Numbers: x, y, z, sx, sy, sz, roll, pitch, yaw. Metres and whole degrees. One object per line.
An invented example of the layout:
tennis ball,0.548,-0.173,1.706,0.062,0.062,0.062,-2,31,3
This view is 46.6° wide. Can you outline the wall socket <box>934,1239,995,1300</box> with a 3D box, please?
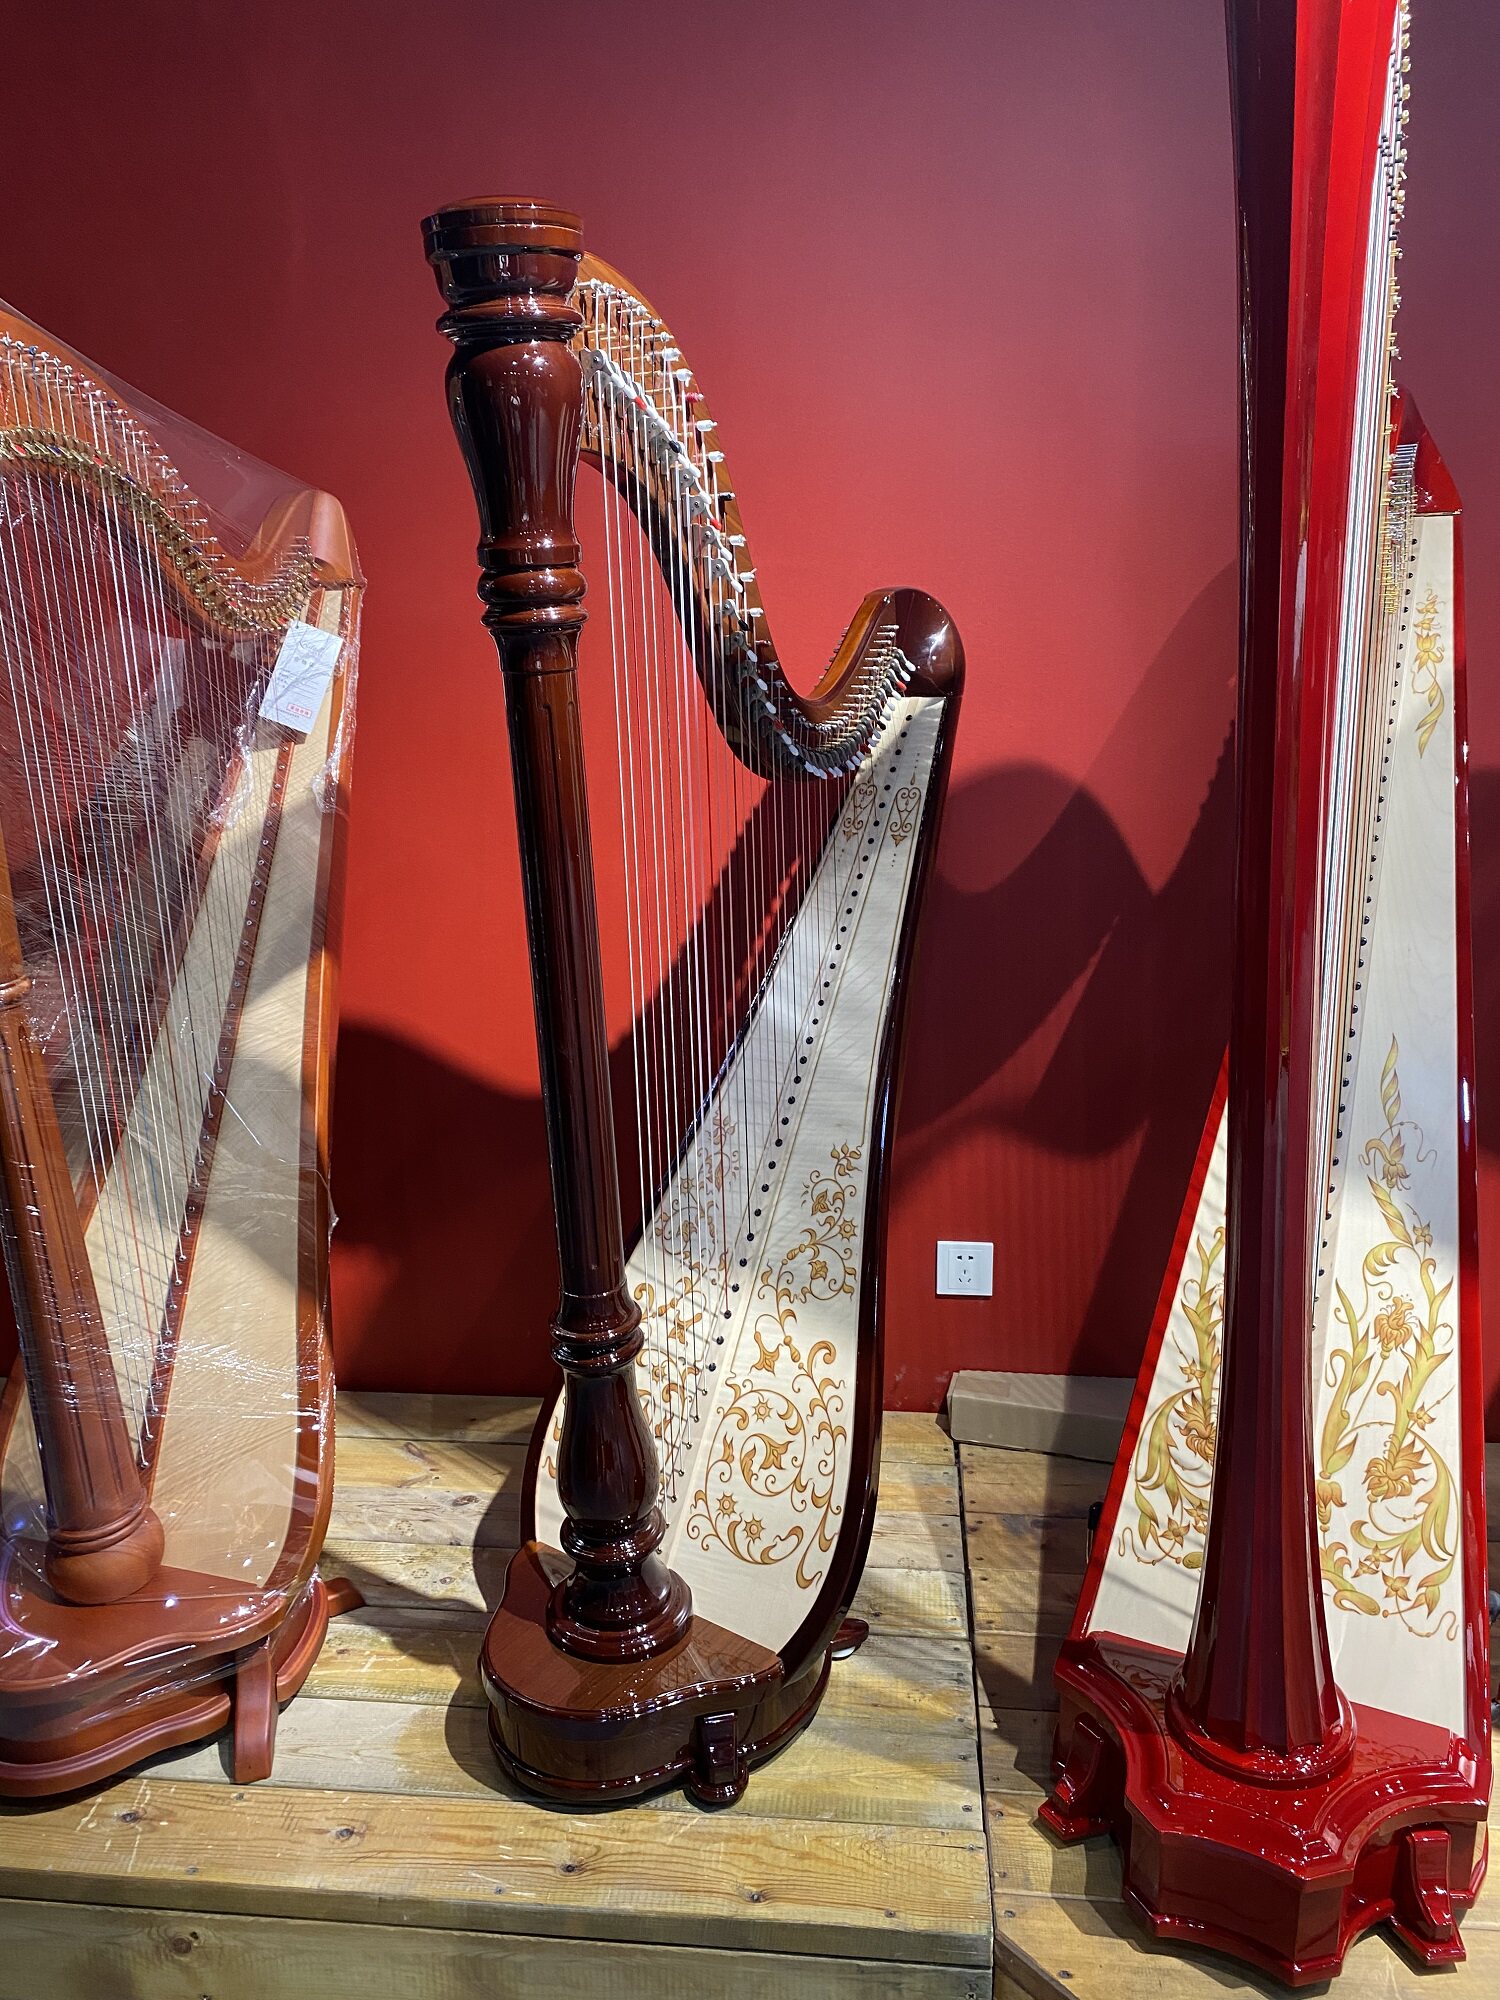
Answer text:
wall socket,0.301,0.379,2.447,0.089,0.089,0.010,1,21,3
